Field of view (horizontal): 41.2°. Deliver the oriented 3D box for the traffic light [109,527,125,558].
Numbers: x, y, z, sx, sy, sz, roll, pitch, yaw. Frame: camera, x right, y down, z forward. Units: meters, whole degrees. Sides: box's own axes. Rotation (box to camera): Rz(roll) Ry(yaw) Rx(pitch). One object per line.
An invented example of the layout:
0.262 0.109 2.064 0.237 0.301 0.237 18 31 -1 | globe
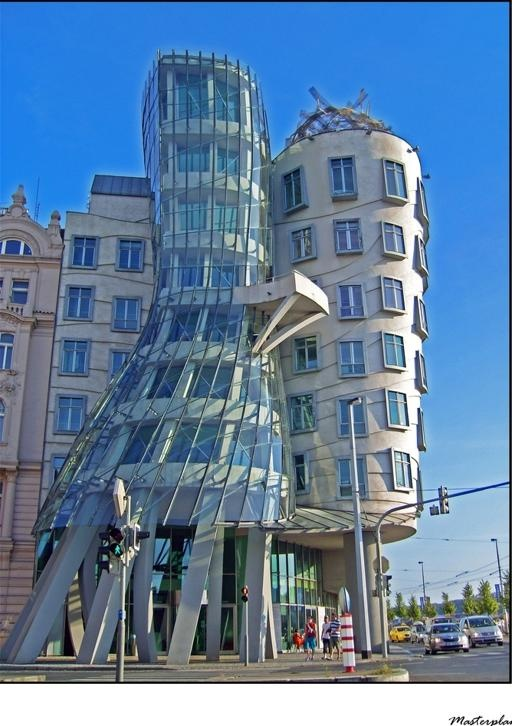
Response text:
-2.394 3.105 11.764 0.209 0.471 0.295 -11 -22 24 | traffic light
